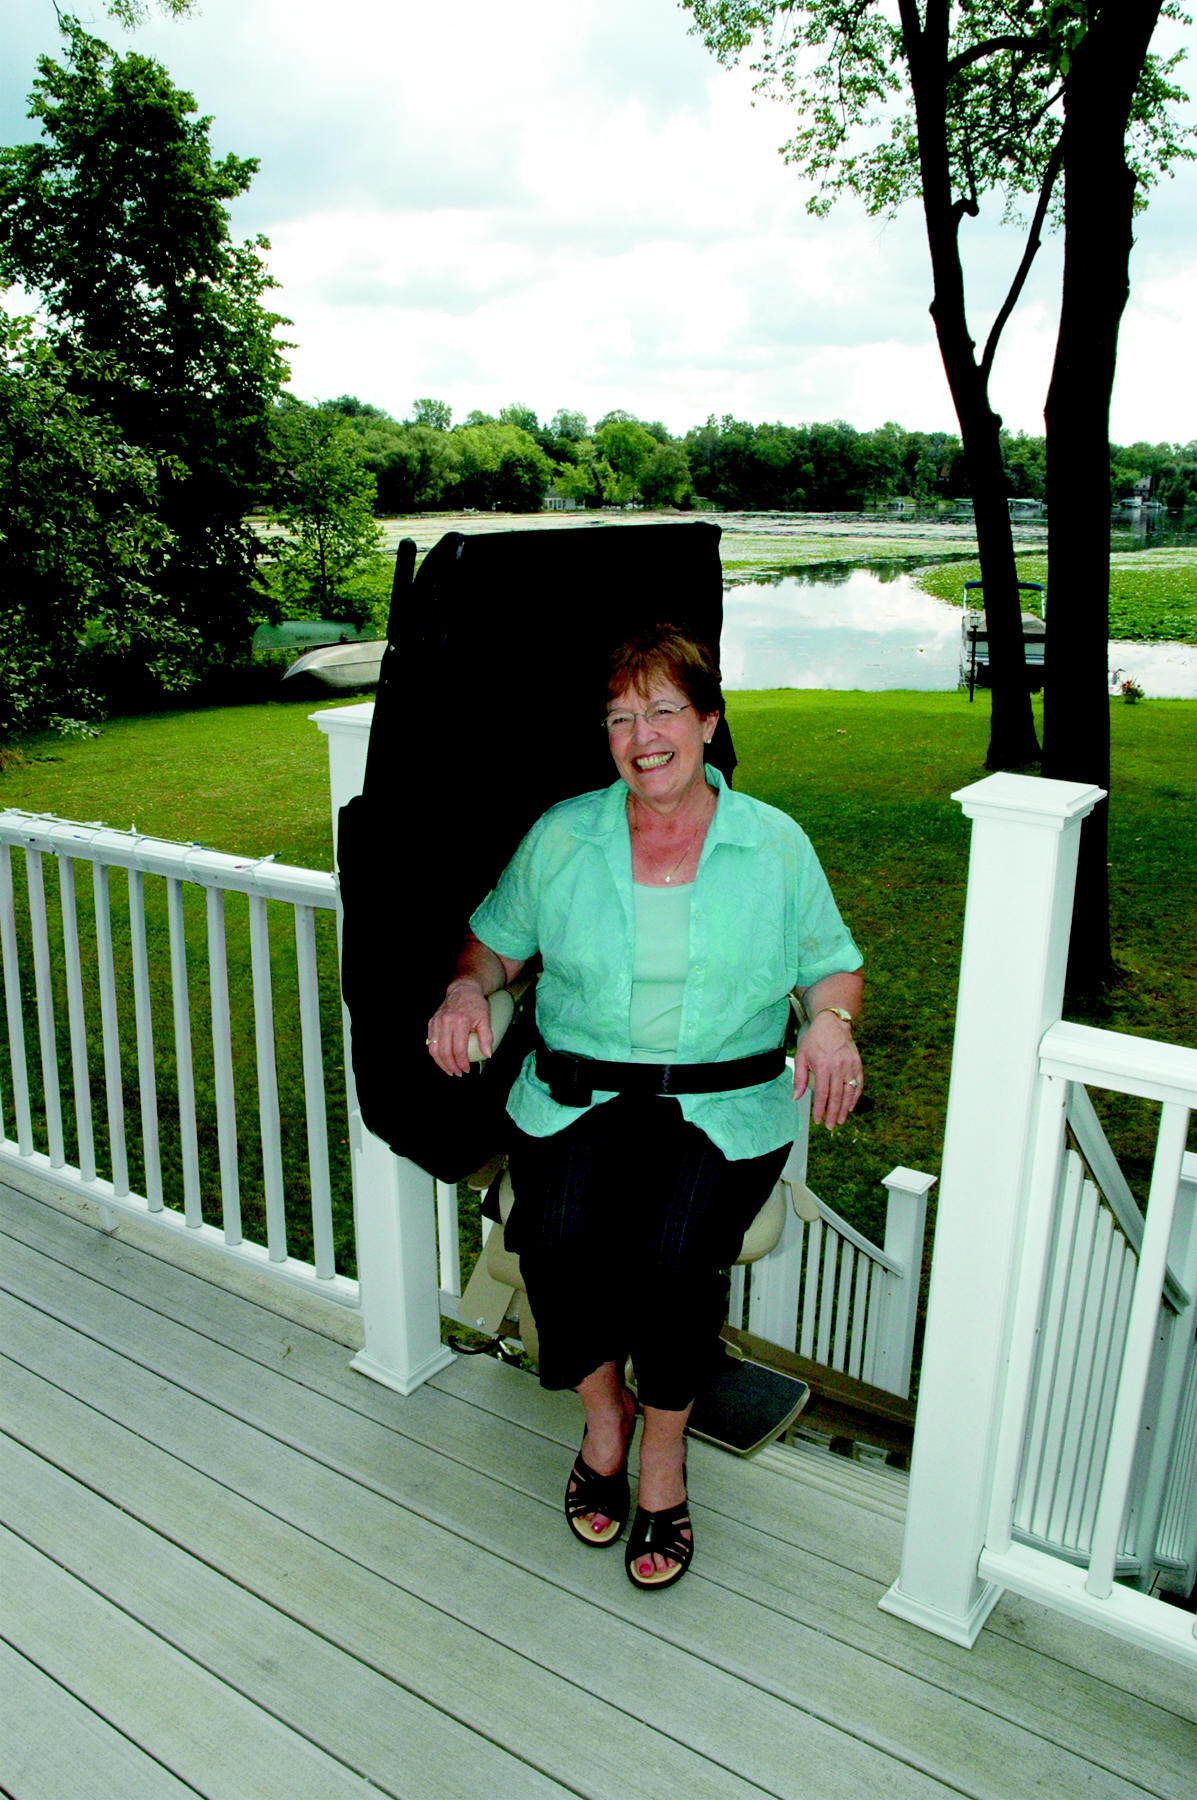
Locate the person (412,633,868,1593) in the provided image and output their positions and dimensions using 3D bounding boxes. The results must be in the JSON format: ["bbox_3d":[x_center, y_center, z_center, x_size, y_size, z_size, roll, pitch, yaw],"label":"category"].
[{"bbox_3d":[0.092,0.323,2.366,0.607,1.425,0.636,-15,21,-41],"label":"person"}]

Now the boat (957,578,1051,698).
[{"bbox_3d":[4.993,-3.042,18.187,1.127,1.255,2.028,0,10,20],"label":"boat"}]

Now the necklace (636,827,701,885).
[{"bbox_3d":[0.104,-0.066,2.335,0.086,0.075,0.022,-3,-16,6],"label":"necklace"}]

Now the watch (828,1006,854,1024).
[{"bbox_3d":[0.367,0.176,2.273,0.026,0.011,0.028,23,37,-37],"label":"watch"}]

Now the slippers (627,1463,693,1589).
[{"bbox_3d":[0.095,0.948,2.302,0.096,0.062,0.262,2,18,9],"label":"slippers"}]
